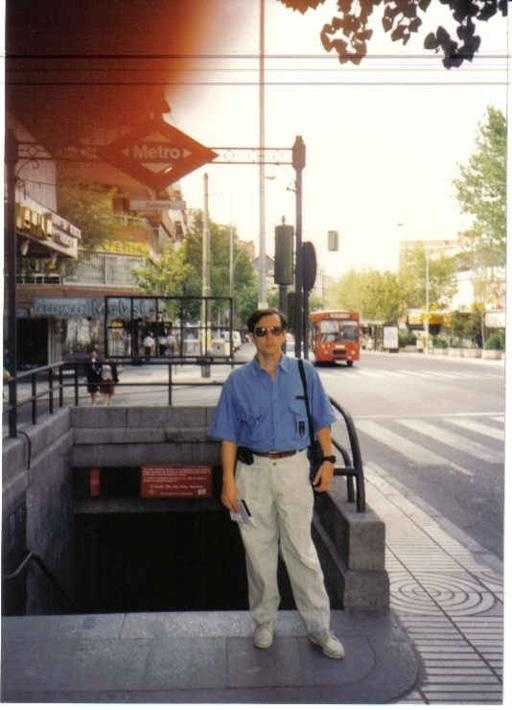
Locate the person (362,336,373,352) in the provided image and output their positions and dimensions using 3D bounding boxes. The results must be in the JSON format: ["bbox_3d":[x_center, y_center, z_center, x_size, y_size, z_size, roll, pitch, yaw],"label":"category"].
[{"bbox_3d":[8.936,-0.958,57.660,0.585,1.083,2.118,2,3,-13],"label":"person"}]

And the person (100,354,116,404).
[{"bbox_3d":[-2.850,0.447,13.955,0.233,1.031,0.237,-4,-30,-6],"label":"person"}]

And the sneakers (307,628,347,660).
[{"bbox_3d":[0.381,1.528,3.838,0.078,0.111,0.199,-3,2,-26],"label":"sneakers"}]

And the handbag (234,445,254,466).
[{"bbox_3d":[-0.063,0.527,3.894,0.075,0.094,0.127,0,14,-28],"label":"handbag"}]

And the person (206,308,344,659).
[{"bbox_3d":[0.117,0.667,3.925,0.712,1.583,0.298,2,1,7],"label":"person"}]

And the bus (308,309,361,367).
[{"bbox_3d":[3.482,-0.813,33.654,1.029,2.314,3.821,0,0,-4],"label":"bus"}]
